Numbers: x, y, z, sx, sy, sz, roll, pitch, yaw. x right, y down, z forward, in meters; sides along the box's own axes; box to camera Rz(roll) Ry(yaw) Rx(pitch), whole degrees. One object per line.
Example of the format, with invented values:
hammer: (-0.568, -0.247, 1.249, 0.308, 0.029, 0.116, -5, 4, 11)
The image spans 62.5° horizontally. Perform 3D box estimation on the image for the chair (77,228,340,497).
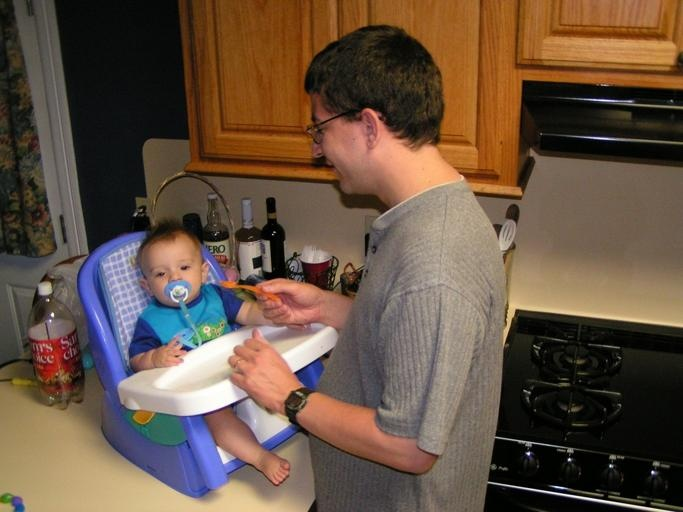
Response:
chair: (-0.468, 0.299, 1.844, 0.632, 0.635, 0.546, 17, 31, 34)

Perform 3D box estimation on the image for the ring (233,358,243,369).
ring: (-0.264, 0.274, 1.430, 0.020, 0.018, 0.021, 1, 4, 0)

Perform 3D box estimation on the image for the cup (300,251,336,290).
cup: (-0.098, 0.055, 2.303, 0.134, 0.163, 0.148, -1, 1, -6)

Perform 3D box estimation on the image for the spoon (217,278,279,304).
spoon: (-0.318, 0.122, 1.906, 0.162, 0.028, 0.041, 19, 8, 1)
